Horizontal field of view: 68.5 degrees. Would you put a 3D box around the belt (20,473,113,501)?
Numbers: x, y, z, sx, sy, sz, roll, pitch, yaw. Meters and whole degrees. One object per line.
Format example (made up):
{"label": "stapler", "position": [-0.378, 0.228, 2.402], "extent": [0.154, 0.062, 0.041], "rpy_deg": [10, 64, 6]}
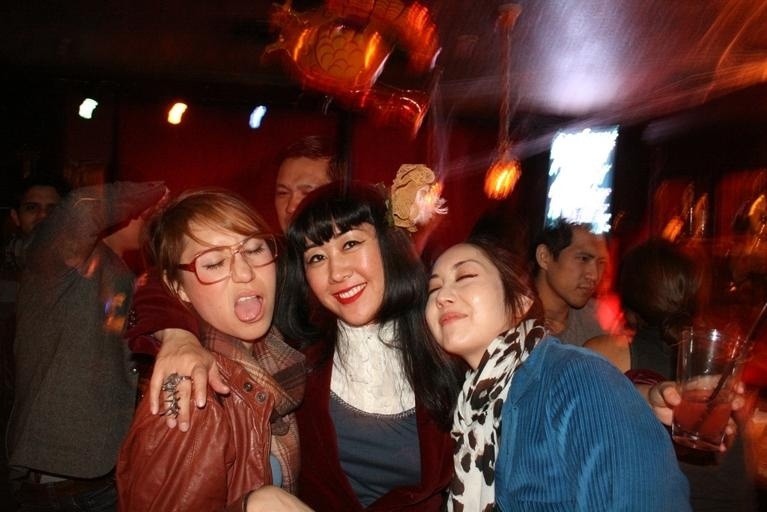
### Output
{"label": "belt", "position": [-2.880, 2.073, 5.056], "extent": [0.571, 0.131, 0.314], "rpy_deg": [2, -8, -21]}
